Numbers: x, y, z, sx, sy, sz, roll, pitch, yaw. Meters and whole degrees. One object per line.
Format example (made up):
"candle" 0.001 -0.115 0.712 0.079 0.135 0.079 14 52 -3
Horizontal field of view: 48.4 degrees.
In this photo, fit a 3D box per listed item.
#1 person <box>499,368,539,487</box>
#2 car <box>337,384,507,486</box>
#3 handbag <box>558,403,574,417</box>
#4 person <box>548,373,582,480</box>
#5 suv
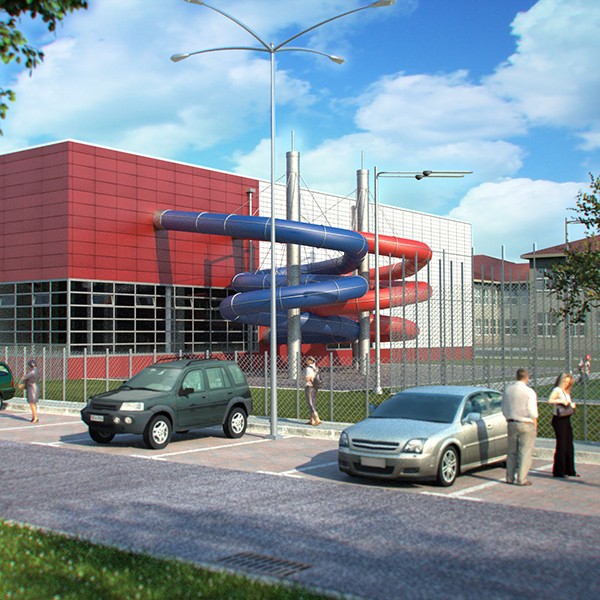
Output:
"person" 3.451 1.970 10.500 0.512 1.759 0.615 -2 -5 16
"car" 2.001 2.157 10.816 2.630 1.396 1.496 3 -6 -45
"handbag" 4.177 1.759 10.587 0.237 0.193 0.157 -1 2 -6
"person" 4.265 2.042 10.885 0.408 1.677 0.921 -3 -5 20
"suv" -2.902 2.229 14.909 2.064 1.328 2.985 -6 -9 38
